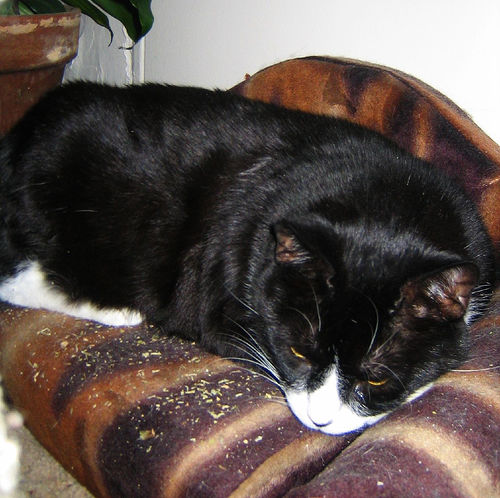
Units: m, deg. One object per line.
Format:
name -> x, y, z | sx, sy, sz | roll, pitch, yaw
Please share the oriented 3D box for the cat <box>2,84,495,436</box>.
cat -> -0.085, 0.014, 1.551 | 1.191, 0.445, 0.639 | 24, 49, 26
